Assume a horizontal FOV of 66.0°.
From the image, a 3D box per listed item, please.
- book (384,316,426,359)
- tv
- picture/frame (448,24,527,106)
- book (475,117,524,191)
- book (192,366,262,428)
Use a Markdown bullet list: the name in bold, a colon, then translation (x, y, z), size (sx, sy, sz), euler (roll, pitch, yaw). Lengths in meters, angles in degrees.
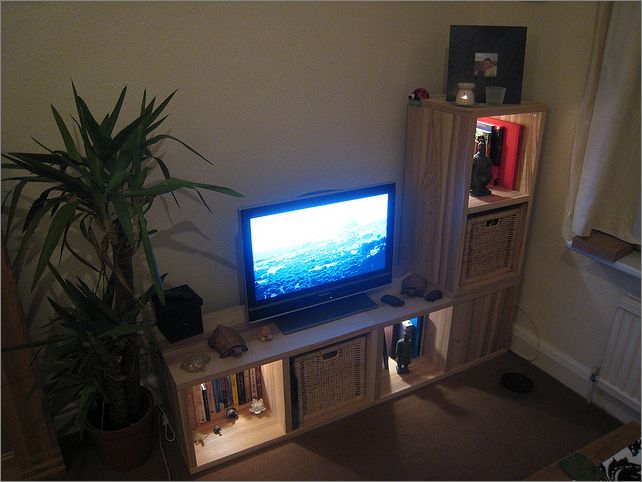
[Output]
- **book**: translation (0.523, 0.595, 3.121), size (0.171, 0.311, 0.175), euler (-13, 33, -20)
- **tv**: translation (0.006, 0.040, 2.854), size (1.090, 0.791, 0.329), euler (-12, 25, -28)
- **picture/frame**: translation (0.930, -0.987, 2.758), size (0.472, 0.473, 0.047), euler (4, 21, 11)
- **book**: translation (1.070, -0.535, 2.956), size (0.131, 0.394, 0.377), euler (-3, 13, -9)
- **book**: translation (-0.552, 0.879, 2.790), size (0.359, 0.322, 0.118), euler (-12, 26, -31)
